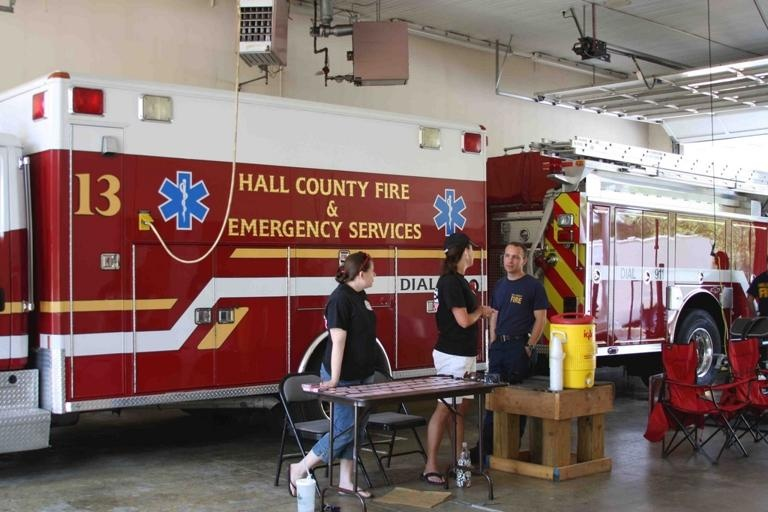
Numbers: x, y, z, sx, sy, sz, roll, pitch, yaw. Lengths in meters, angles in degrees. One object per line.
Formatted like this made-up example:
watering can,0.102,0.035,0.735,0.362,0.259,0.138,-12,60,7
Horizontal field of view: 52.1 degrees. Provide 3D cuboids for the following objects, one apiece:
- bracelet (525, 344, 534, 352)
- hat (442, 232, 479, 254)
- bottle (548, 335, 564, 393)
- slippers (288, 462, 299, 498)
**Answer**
bracelet,1.688,1.058,8.879,0.101,0.116,0.071,7,1,-30
hat,0.851,-0.145,8.460,0.305,0.169,0.230,-5,0,-20
bottle,1.830,1.132,8.251,0.138,0.604,0.151,-1,0,0
slippers,-0.893,2.242,7.808,0.086,0.352,0.124,3,6,19
